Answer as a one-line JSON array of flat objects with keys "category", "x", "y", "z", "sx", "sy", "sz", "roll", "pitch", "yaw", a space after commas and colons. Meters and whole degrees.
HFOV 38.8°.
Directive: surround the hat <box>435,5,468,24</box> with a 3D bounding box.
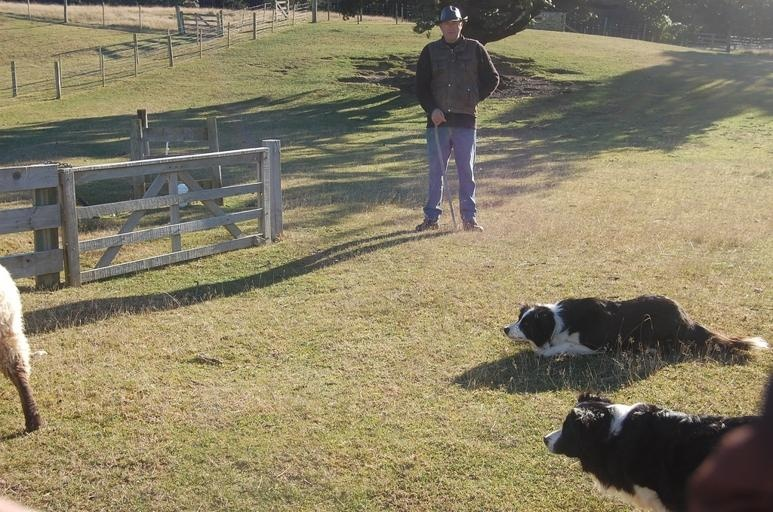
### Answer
[{"category": "hat", "x": 2.092, "y": -7.519, "z": 34.535, "sx": 0.677, "sy": 0.456, "sz": 0.596, "roll": 0, "pitch": 19, "yaw": -2}]
